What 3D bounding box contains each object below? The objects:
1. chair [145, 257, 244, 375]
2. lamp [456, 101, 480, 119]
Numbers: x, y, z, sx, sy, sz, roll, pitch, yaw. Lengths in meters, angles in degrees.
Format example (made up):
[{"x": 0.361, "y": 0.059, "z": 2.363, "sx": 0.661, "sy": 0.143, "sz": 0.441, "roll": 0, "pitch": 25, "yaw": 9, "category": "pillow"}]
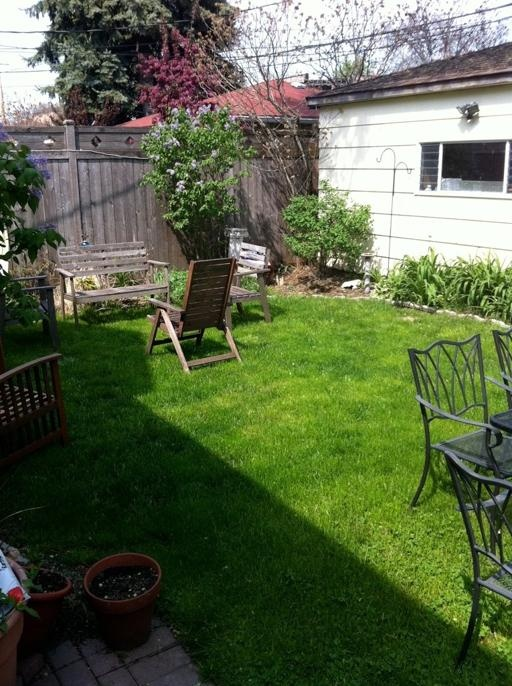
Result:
[{"x": -0.623, "y": -0.338, "z": 5.360, "sx": 0.662, "sy": 1.060, "sz": 0.780, "roll": -11, "pitch": 18, "yaw": -37, "category": "chair"}, {"x": 3.016, "y": -3.257, "z": 7.584, "sx": 0.140, "sy": 0.244, "sz": 0.360, "roll": -7, "pitch": 17, "yaw": -26, "category": "lamp"}]
